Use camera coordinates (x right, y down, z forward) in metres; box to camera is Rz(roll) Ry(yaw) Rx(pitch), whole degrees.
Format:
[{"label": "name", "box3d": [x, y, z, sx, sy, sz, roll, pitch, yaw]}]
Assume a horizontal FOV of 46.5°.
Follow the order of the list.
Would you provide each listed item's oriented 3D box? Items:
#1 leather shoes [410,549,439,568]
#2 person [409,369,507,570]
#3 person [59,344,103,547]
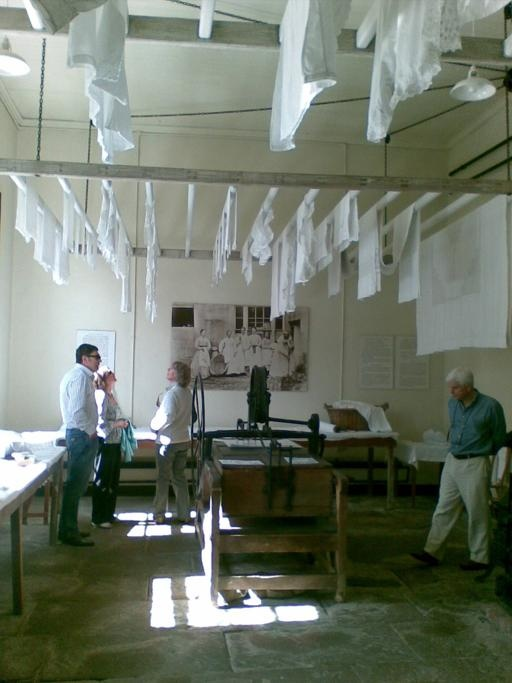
[{"label": "leather shoes", "box3d": [1.349, 1.744, 4.818, 0.208, 0.158, 0.077, -8, 4, 44]}, {"label": "person", "box3d": [1.620, 0.989, 4.566, 0.419, 1.542, 0.689, 3, -4, -22]}, {"label": "person", "box3d": [-1.521, 0.873, 5.117, 0.316, 1.707, 0.375, 2, -4, -19]}]
